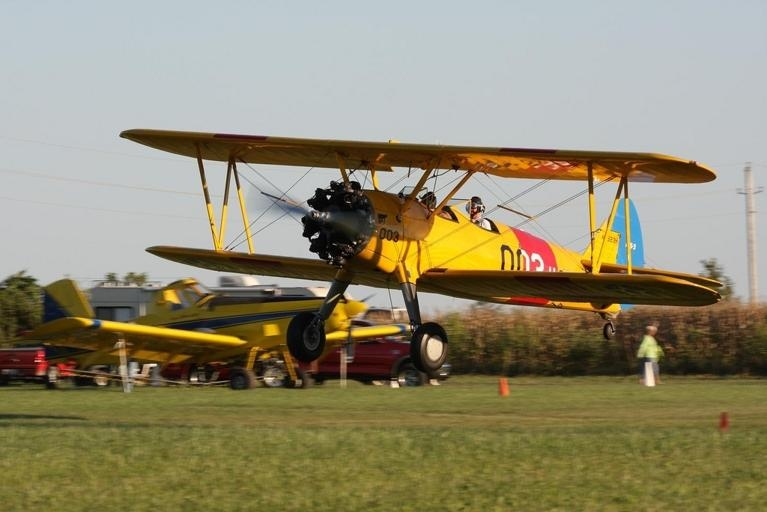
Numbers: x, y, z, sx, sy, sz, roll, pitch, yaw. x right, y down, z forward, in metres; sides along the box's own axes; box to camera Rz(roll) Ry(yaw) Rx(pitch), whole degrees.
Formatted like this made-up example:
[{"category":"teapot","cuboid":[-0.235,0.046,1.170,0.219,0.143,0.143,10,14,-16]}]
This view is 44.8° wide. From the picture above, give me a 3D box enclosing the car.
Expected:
[{"category":"car","cuboid":[-1.193,2.279,19.985,3.362,0.672,3.544,-2,-3,35]}]
